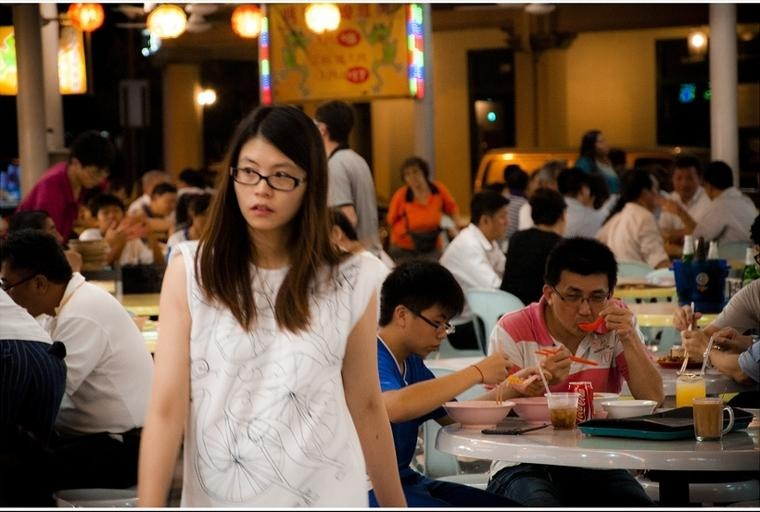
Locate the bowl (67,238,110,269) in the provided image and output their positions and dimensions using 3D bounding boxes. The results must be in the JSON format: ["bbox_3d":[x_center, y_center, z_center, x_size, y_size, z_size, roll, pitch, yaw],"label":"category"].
[{"bbox_3d":[-2.107,-0.006,5.313,0.251,0.190,0.266,0,-4,0],"label":"bowl"}]

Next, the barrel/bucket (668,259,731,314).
[{"bbox_3d":[1.829,0.216,4.279,0.339,0.307,0.344,0,-4,0],"label":"barrel/bucket"}]

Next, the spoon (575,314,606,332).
[{"bbox_3d":[0.849,0.266,2.945,0.101,0.076,0.037,3,45,-11],"label":"spoon"}]

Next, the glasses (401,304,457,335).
[{"bbox_3d":[0.192,0.224,2.736,0.133,0.042,0.132,35,9,20],"label":"glasses"}]

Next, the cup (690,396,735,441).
[{"bbox_3d":[1.071,0.550,2.433,0.168,0.153,0.109,0,-4,5],"label":"cup"}]

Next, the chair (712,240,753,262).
[{"bbox_3d":[2.566,-0.030,5.342,0.222,0.156,0.131,0,-6,0],"label":"chair"}]
